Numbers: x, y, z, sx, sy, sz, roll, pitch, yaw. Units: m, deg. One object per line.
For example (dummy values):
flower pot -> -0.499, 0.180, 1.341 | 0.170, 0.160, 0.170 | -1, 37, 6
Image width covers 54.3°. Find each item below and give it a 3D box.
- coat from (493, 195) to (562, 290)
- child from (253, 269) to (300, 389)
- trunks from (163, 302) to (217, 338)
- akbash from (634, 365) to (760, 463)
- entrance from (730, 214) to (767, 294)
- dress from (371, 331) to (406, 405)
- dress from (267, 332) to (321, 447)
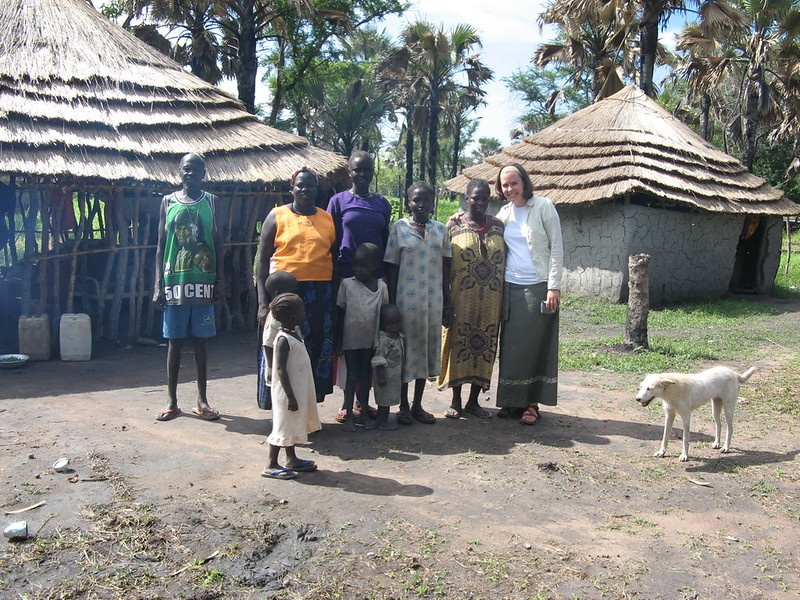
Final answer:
coat -> 1.394, -0.546, 7.595 | 0.384, 0.899, 0.154 | 2, 3, 30
child -> -1.034, 0.244, 6.688 | 0.413, 1.219, 0.829 | -3, 19, -8
trunks -> -2.042, 0.231, 7.613 | 0.571, 0.496, 0.315 | 1, -5, -30
akbash -> 2.758, 1.005, 7.126 | 1.395, 0.804, 0.388 | -5, 7, -18
entrance -> 8.158, -1.010, 18.135 | 0.395, 1.446, 1.075 | 8, 6, -2
dress -> -0.102, 0.646, 7.485 | 0.267, 0.681, 0.538 | 4, 0, 24
dress -> -0.912, 0.712, 6.594 | 0.481, 0.969, 0.405 | -5, 7, -35
